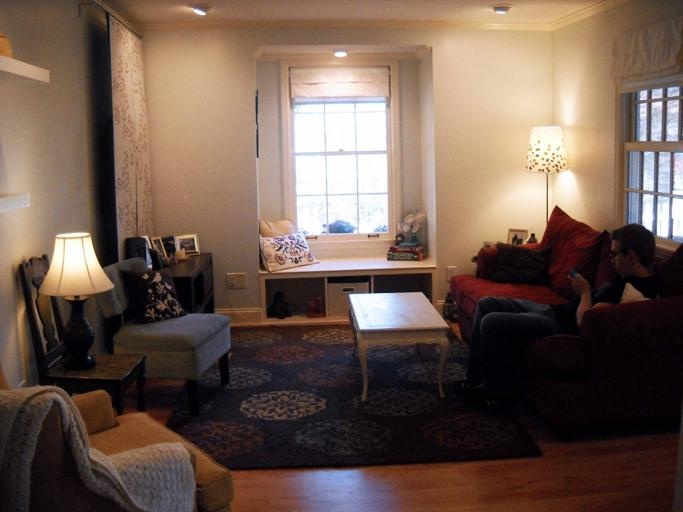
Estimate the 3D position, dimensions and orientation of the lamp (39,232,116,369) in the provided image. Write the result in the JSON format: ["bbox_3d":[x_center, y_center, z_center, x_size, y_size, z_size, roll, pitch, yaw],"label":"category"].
[{"bbox_3d":[-1.575,0.290,3.376,0.398,0.739,0.425,-3,2,13],"label":"lamp"}]

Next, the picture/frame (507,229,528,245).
[{"bbox_3d":[1.755,-0.183,5.640,0.151,0.177,0.013,11,-25,27],"label":"picture/frame"}]

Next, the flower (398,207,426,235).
[{"bbox_3d":[0.760,-0.351,6.044,0.303,0.250,0.264,0,13,5],"label":"flower"}]

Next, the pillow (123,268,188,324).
[{"bbox_3d":[-1.365,0.272,4.045,0.112,0.368,0.380,-33,-13,39],"label":"pillow"}]

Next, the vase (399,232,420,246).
[{"bbox_3d":[0.720,-0.171,6.000,0.147,0.139,0.150,0,13,2],"label":"vase"}]

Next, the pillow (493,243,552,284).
[{"bbox_3d":[1.555,0.061,4.905,0.357,0.356,0.109,2,-24,29],"label":"pillow"}]

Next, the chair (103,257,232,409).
[{"bbox_3d":[-1.292,0.553,4.111,0.843,0.932,0.772,-1,6,-1],"label":"chair"}]

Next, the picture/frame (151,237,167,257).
[{"bbox_3d":[-1.663,-0.075,5.163,0.014,0.183,0.143,-14,9,26],"label":"picture/frame"}]

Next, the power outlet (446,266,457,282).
[{"bbox_3d":[1.096,0.176,5.660,0.155,0.217,0.028,0,4,-4],"label":"power outlet"}]

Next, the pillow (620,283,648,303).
[{"bbox_3d":[1.770,0.244,3.429,0.142,0.110,0.225,5,15,26],"label":"pillow"}]

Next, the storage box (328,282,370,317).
[{"bbox_3d":[0.033,0.413,5.849,0.370,0.287,0.356,0,6,-1],"label":"storage box"}]

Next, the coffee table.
[{"bbox_3d":[0.416,0.451,4.060,0.595,0.466,1.014,-2,12,-5],"label":"coffee table"}]

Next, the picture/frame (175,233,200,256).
[{"bbox_3d":[-1.497,-0.109,5.479,0.204,0.210,0.014,6,-20,-27],"label":"picture/frame"}]

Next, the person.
[{"bbox_3d":[1.464,0.367,3.783,1.056,1.255,0.575,8,9,20],"label":"person"}]

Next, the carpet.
[{"bbox_3d":[-0.038,1.078,4.180,2.128,0.016,2.400,0,1,2],"label":"carpet"}]

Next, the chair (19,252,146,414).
[{"bbox_3d":[-1.545,0.631,3.549,0.678,1.204,0.610,0,1,-14],"label":"chair"}]
